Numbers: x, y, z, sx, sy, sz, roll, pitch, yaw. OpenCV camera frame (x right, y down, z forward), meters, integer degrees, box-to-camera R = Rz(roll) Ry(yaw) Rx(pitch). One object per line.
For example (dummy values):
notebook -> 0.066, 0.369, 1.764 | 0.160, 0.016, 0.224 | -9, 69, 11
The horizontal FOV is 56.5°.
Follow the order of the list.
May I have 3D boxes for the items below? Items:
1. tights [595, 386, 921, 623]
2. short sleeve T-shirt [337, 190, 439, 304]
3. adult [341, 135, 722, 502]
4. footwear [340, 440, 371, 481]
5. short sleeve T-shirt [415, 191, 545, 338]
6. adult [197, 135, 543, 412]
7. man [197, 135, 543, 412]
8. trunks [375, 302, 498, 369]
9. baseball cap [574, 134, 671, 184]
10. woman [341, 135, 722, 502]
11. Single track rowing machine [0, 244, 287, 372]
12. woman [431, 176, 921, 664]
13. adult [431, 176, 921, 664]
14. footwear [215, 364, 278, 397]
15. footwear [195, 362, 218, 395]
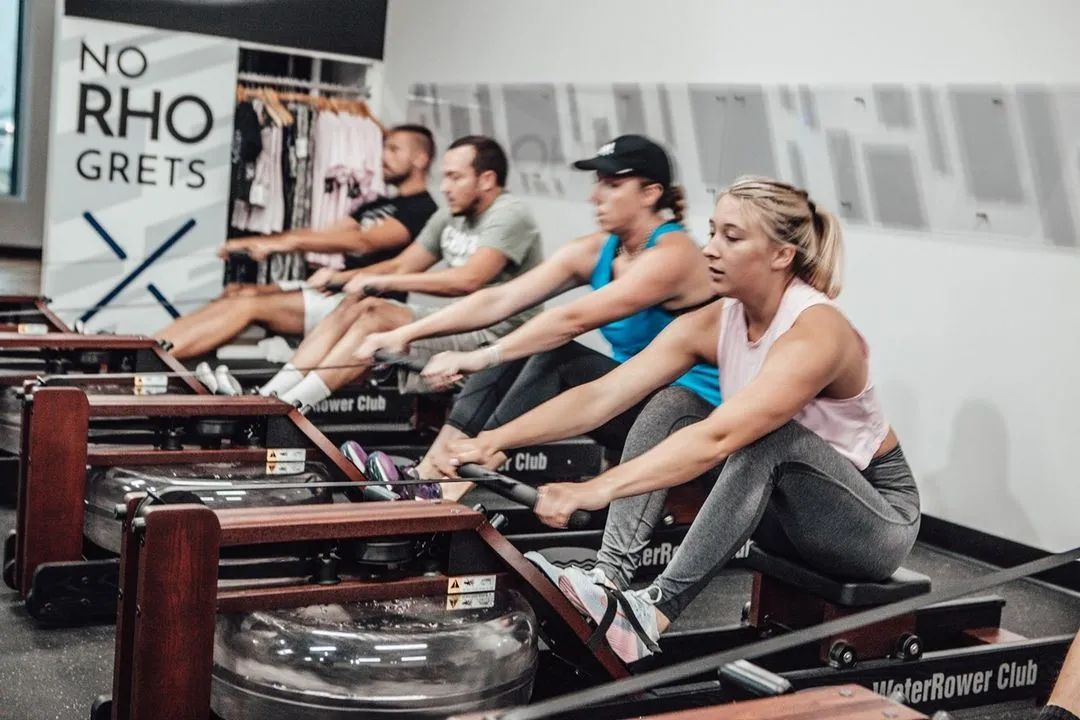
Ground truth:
tights -> 0.428, 0.298, 2.173 | 0.840, 0.377, 0.474 | -10, 13, -30
short sleeve T-shirt -> -0.425, -0.313, 2.848 | 0.158, 0.267, 0.283 | 27, 13, -27
adult -> 0.007, -0.090, 2.287 | 0.893, 0.830, 0.438 | -8, 12, -28
footwear -> -0.382, 0.200, 2.064 | 0.027, 0.048, 0.089 | -22, 58, -28
short sleeve T-shirt -> -0.144, -0.243, 2.530 | 0.348, 0.385, 0.354 | -3, 9, -16
adult -> -0.404, -0.215, 2.493 | 0.912, 0.541, 0.380 | -17, 16, -29
man -> -0.388, -0.217, 2.506 | 0.860, 0.520, 0.372 | -17, 14, -23
trunks -> -0.247, -0.049, 2.451 | 0.258, 0.076, 0.155 | -9, 23, 19
baseball cap -> 0.178, -0.438, 2.211 | 0.167, 0.082, 0.115 | 18, 7, -11
woman -> 0.000, -0.073, 2.289 | 0.935, 0.865, 0.460 | -6, 10, -30
Single track rowing machine -> -1.137, -0.142, 2.921 | 0.404, 0.368, 0.093 | 3, -3, 17
woman -> 0.321, 0.113, 2.087 | 1.053, 0.912, 0.575 | -1, 9, -14
adult -> 0.326, 0.114, 2.084 | 1.056, 0.925, 0.557 | -2, 9, -16
footwear -> -0.747, 0.056, 2.554 | 0.187, 0.071, 0.064 | -5, 2, 39
footwear -> -0.816, 0.047, 2.449 | 0.027, 0.071, 0.041 | -17, -19, -47
